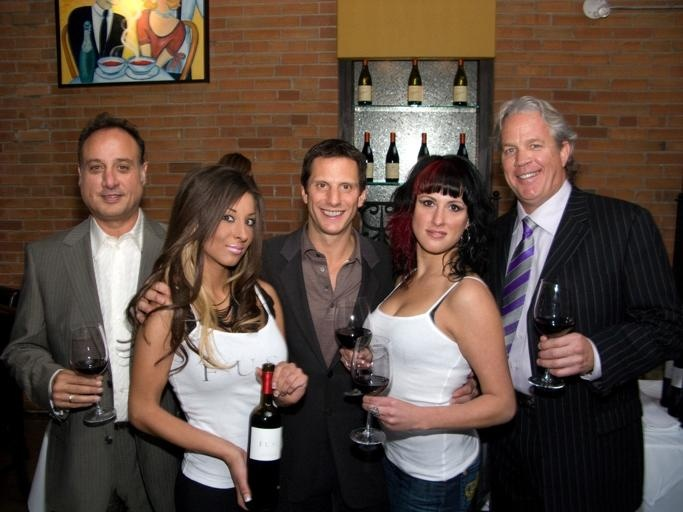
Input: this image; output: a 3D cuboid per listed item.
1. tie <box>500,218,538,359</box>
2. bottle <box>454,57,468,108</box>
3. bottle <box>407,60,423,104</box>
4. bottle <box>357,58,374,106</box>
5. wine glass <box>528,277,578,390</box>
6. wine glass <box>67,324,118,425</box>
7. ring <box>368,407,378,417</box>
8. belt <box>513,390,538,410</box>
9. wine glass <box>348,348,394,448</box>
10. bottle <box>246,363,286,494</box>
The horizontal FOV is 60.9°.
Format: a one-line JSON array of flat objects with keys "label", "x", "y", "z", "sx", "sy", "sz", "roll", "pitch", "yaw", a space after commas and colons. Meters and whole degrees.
[{"label": "tie", "x": 0.847, "y": 0.118, "z": 2.797, "sx": 0.045, "sy": 0.816, "sz": 0.136, "roll": 22, "pitch": -13, "yaw": -31}, {"label": "bottle", "x": 0.938, "y": -1.353, "z": 4.549, "sx": 0.118, "sy": 0.353, "sz": 0.203, "roll": 1, "pitch": 9, "yaw": 13}, {"label": "bottle", "x": 0.578, "y": -1.357, "z": 4.562, "sx": 0.122, "sy": 0.357, "sz": 0.208, "roll": 0, "pitch": 8, "yaw": 7}, {"label": "bottle", "x": 0.185, "y": -1.368, "z": 4.620, "sx": 0.122, "sy": 0.348, "sz": 0.187, "roll": -1, "pitch": 8, "yaw": 4}, {"label": "wine glass", "x": 0.944, "y": 0.376, "z": 2.592, "sx": 0.179, "sy": 0.519, "sz": 0.241, "roll": 2, "pitch": 9, "yaw": 23}, {"label": "wine glass", "x": -1.095, "y": 0.508, "z": 2.530, "sx": 0.159, "sy": 0.439, "sz": 0.219, "roll": -6, "pitch": 10, "yaw": -30}, {"label": "ring", "x": 0.129, "y": 0.646, "z": 2.395, "sx": 0.031, "sy": 0.034, "sz": 0.054, "roll": 0, "pitch": 2, "yaw": -5}, {"label": "belt", "x": 0.860, "y": 0.676, "z": 2.699, "sx": 0.085, "sy": 0.079, "sz": 0.067, "roll": -13, "pitch": 9, "yaw": 14}, {"label": "wine glass", "x": 0.125, "y": 0.635, "z": 2.535, "sx": 0.170, "sy": 0.555, "sz": 0.367, "roll": -1, "pitch": 8, "yaw": 1}, {"label": "bottle", "x": -0.323, "y": 0.717, "z": 2.369, "sx": 0.142, "sy": 0.610, "sz": 0.203, "roll": -3, "pitch": 9, "yaw": -9}]
